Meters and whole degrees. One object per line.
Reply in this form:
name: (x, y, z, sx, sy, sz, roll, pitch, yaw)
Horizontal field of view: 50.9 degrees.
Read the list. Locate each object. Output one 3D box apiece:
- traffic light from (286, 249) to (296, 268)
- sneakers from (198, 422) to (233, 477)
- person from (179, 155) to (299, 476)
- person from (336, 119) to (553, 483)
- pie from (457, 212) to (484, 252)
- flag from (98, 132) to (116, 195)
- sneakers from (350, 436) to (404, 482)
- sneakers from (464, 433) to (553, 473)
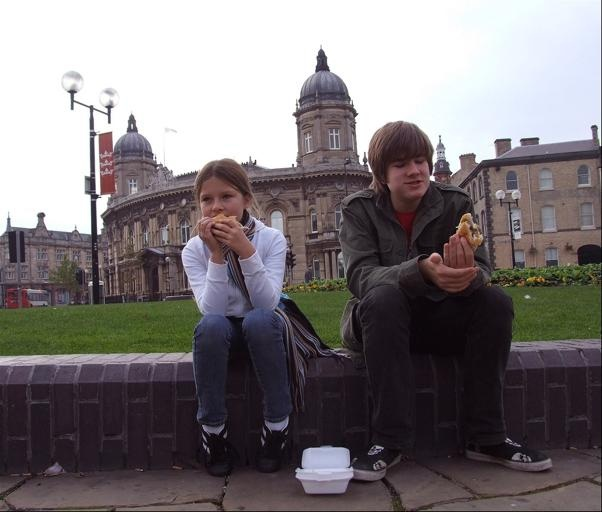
traffic light: (-0.538, 0.120, 34.324, 0.598, 1.166, 2.072, -2, 2, -1)
sneakers: (-0.456, 1.055, 3.432, 0.157, 0.252, 0.117, -2, 1, -6)
person: (-0.373, 0.286, 3.745, 0.620, 1.757, 0.768, -2, 1, -11)
person: (0.726, 0.174, 3.652, 0.962, 1.951, 0.798, -1, 1, 0)
pie: (0.949, -0.139, 3.561, 0.078, 0.151, 0.202, -21, 27, 29)
flag: (-6.142, -2.875, 20.057, 0.538, 2.135, 0.047, -9, 40, -27)
sneakers: (0.389, 1.097, 3.342, 0.125, 0.118, 0.295, -9, -16, 36)
sneakers: (1.135, 1.062, 3.459, 0.417, 0.162, 0.157, -9, -9, 42)
